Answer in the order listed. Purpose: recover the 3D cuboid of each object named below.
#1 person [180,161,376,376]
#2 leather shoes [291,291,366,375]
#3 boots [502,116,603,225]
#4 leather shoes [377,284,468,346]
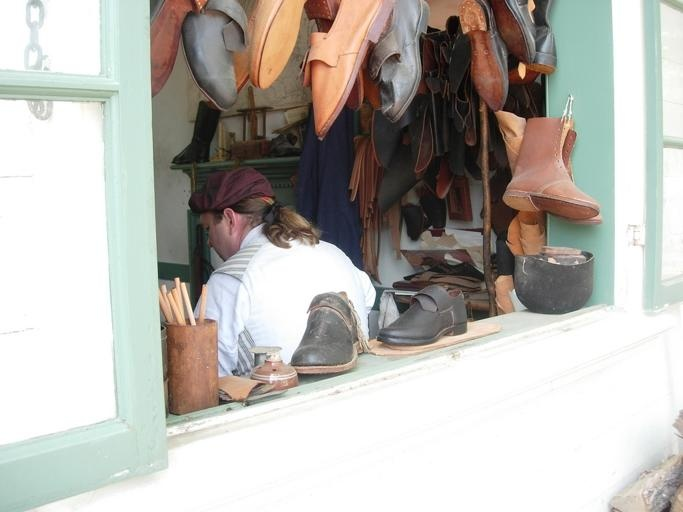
[{"bbox_3d":[-0.229,0.204,2.169,0.501,0.963,0.407,-8,23,-25],"label":"person"},{"bbox_3d":[-0.025,0.169,1.586,0.138,0.172,0.411,-2,5,10],"label":"leather shoes"},{"bbox_3d":[0.613,-0.252,1.989,0.257,0.327,0.227,-6,7,15],"label":"boots"},{"bbox_3d":[0.214,0.156,1.704,0.294,0.140,0.122,-6,5,-35],"label":"leather shoes"}]
